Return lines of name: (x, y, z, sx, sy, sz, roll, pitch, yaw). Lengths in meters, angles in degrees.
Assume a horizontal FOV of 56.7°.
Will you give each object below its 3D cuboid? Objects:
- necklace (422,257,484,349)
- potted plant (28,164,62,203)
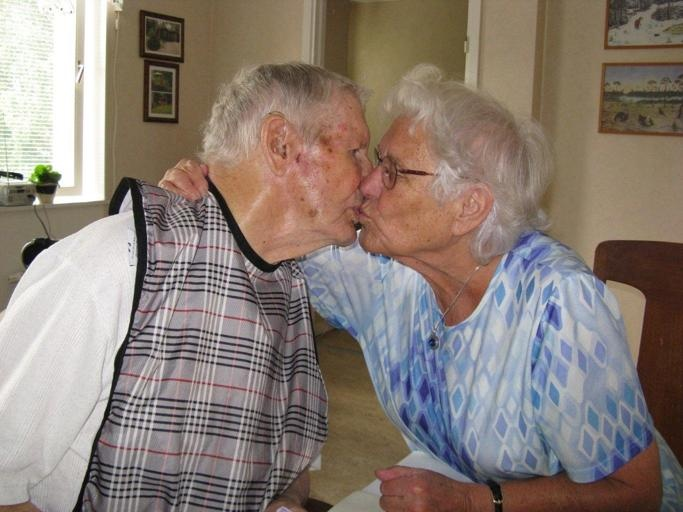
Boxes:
necklace: (0.318, 0.180, 1.972, 0.092, 0.345, 0.060, 28, 11, -14)
potted plant: (-2.100, -0.511, 4.456, 0.195, 0.268, 0.210, 7, 22, 9)
